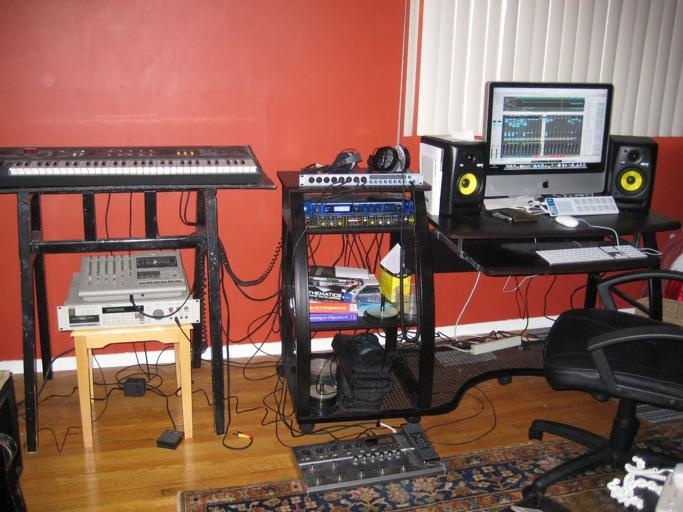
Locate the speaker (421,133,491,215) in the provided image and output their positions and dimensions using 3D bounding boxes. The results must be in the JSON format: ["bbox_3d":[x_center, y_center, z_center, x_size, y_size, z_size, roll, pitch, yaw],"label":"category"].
[{"bbox_3d":[0.525,-0.447,3.264,0.415,0.472,0.387,-3,16,-10],"label":"speaker"}]

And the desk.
[{"bbox_3d":[0.971,0.214,3.078,1.077,0.685,0.586,-2,21,-2],"label":"desk"}]

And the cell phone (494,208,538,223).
[{"bbox_3d":[0.850,-0.209,3.083,0.096,0.027,0.122,-1,18,-8],"label":"cell phone"}]

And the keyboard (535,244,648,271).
[{"bbox_3d":[1.170,-0.016,2.913,0.513,0.046,0.223,-6,17,-12],"label":"keyboard"}]

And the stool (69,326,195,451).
[{"bbox_3d":[-1.005,0.559,3.165,0.628,0.545,0.601,-2,10,-11],"label":"stool"}]

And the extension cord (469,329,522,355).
[{"bbox_3d":[0.878,0.514,3.642,0.180,0.044,0.163,-10,8,-5],"label":"extension cord"}]

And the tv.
[{"bbox_3d":[1.065,-0.628,3.247,0.679,0.521,0.069,-2,10,-10],"label":"tv"}]

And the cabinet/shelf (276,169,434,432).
[{"bbox_3d":[0.056,0.169,3.075,0.765,1.203,0.641,-5,17,-6],"label":"cabinet/shelf"}]

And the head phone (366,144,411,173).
[{"bbox_3d":[0.219,-0.471,2.990,0.203,0.119,0.132,1,17,11],"label":"head phone"}]

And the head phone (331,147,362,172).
[{"bbox_3d":[0.031,-0.459,2.972,0.149,0.102,0.103,-5,24,13],"label":"head phone"}]
